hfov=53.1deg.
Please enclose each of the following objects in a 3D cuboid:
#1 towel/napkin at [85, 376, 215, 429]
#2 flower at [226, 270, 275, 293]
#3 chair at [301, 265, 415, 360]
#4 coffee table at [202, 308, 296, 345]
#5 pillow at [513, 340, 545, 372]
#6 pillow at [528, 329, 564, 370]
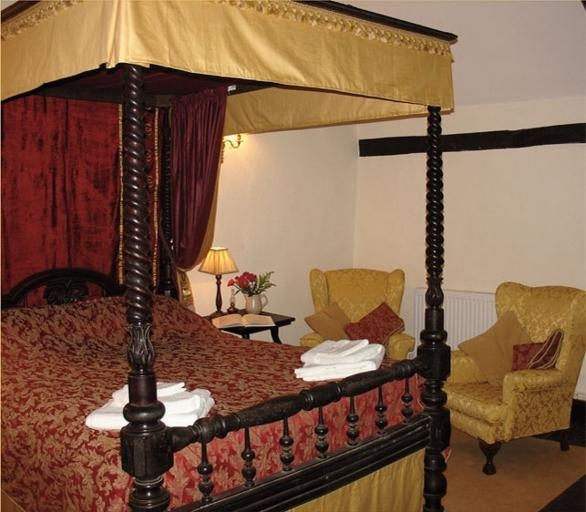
[{"bbox_3d":[-0.641,0.727,2.828,0.344,0.088,0.351,-3,-2,44],"label":"towel/napkin"},{"bbox_3d":[-0.402,0.264,5.633,0.319,0.133,0.287,2,-5,-18],"label":"flower"},{"bbox_3d":[0.624,0.594,5.805,1.070,1.105,0.920,-6,-16,30],"label":"chair"},{"bbox_3d":[-0.386,0.643,5.494,0.505,0.322,0.508,4,6,41],"label":"coffee table"},{"bbox_3d":[1.841,0.788,4.656,0.236,0.214,0.061,7,-20,37],"label":"pillow"},{"bbox_3d":[1.986,0.747,4.563,0.173,0.371,0.114,36,14,25],"label":"pillow"}]
